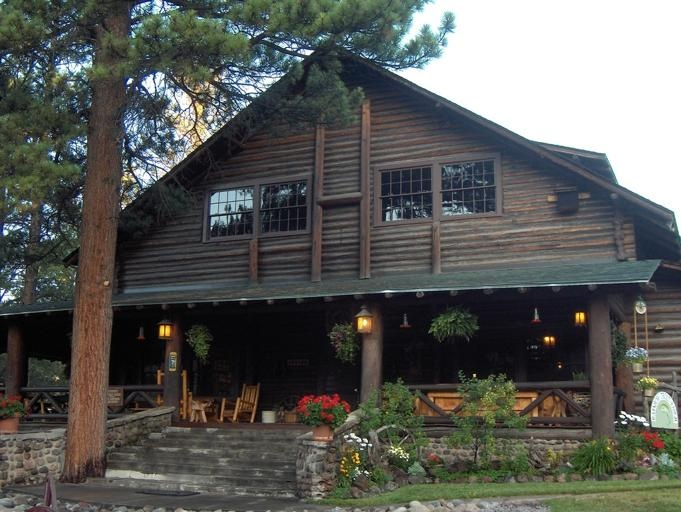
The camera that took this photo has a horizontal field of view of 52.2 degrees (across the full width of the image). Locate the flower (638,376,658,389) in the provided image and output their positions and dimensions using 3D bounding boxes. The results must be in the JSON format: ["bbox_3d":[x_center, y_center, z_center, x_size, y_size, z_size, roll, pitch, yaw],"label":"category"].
[{"bbox_3d":[7.382,3.031,16.675,0.352,0.241,0.347,-1,-5,16],"label":"flower"}]

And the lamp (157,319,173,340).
[{"bbox_3d":[-4.712,1.999,18.838,0.520,0.542,0.480,1,-12,-5],"label":"lamp"}]

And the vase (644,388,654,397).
[{"bbox_3d":[7.407,3.247,16.558,0.338,0.203,0.199,6,-13,-31],"label":"vase"}]

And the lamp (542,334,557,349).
[{"bbox_3d":[5.879,2.401,19.465,0.381,0.352,0.366,-1,-6,5],"label":"lamp"}]

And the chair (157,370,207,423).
[{"bbox_3d":[-4.265,4.016,20.082,0.738,1.441,1.527,2,-12,-12],"label":"chair"}]

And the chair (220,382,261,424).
[{"bbox_3d":[-2.969,4.364,20.710,1.075,1.129,2.181,1,-11,-7],"label":"chair"}]

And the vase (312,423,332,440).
[{"bbox_3d":[-0.380,3.684,14.552,0.341,0.229,0.333,1,-14,1],"label":"vase"}]

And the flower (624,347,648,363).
[{"bbox_3d":[7.204,2.411,16.998,0.501,0.326,0.464,1,-6,-5],"label":"flower"}]

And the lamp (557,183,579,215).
[{"bbox_3d":[5.777,-1.425,17.595,0.673,0.736,0.654,-2,-8,16],"label":"lamp"}]

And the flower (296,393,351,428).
[{"bbox_3d":[-0.447,3.256,14.624,0.788,0.518,0.777,5,-6,-43],"label":"flower"}]

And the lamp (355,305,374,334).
[{"bbox_3d":[0.567,1.547,16.914,0.431,0.695,0.560,-1,-11,1],"label":"lamp"}]

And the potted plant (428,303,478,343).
[{"bbox_3d":[2.908,1.657,16.989,1.275,0.850,1.254,2,2,41],"label":"potted plant"}]

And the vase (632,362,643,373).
[{"bbox_3d":[7.327,2.729,17.071,0.346,0.250,0.339,0,-6,6],"label":"vase"}]
